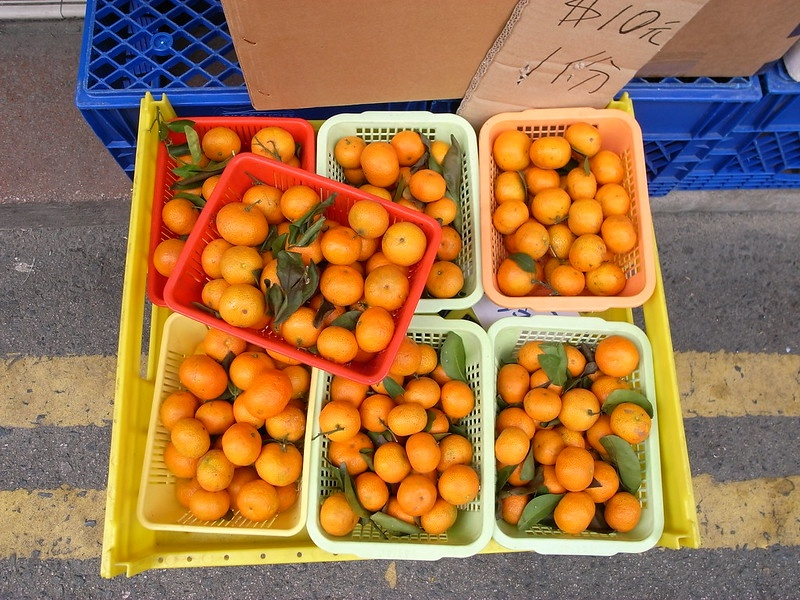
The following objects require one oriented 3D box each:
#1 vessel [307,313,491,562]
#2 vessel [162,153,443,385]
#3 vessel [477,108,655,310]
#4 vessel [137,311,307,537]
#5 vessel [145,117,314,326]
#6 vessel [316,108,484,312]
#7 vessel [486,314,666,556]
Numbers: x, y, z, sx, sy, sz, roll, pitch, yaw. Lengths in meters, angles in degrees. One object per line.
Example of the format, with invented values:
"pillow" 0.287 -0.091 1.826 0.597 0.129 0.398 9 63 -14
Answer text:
"vessel" 0.106 0.470 2.678 0.594 0.275 0.802 -1 85 -2
"vessel" -0.271 -0.141 2.513 0.808 0.269 0.663 19 86 -5
"vessel" 0.724 -0.468 2.912 0.283 0.871 0.720 -46 51 -9
"vessel" -0.675 0.400 2.591 0.555 0.227 0.708 2 88 -9
"vessel" -0.651 -0.277 2.567 0.497 0.228 0.662 2 92 -3
"vessel" 0.078 -0.284 2.748 0.521 0.255 0.719 0 93 -5
"vessel" 0.657 0.415 2.647 0.586 0.284 0.806 1 84 -1
